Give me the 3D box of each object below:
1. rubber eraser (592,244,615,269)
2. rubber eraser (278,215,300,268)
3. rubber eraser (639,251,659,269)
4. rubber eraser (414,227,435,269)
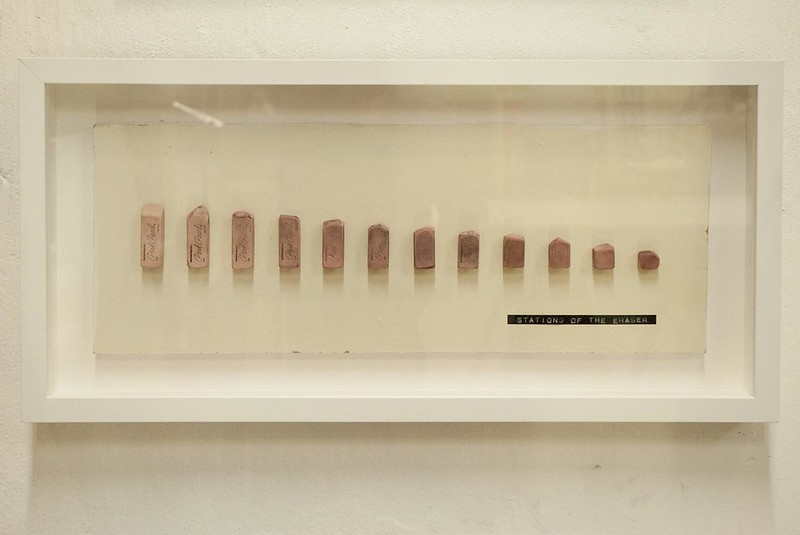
[{"bbox_3d":[0.611,-0.024,4.518,0.066,0.066,0.044,-2,-33,-1],"label":"rubber eraser"},{"bbox_3d":[-0.328,-0.071,4.503,0.067,0.151,0.020,1,4,16],"label":"rubber eraser"},{"bbox_3d":[0.748,-0.014,4.511,0.058,0.052,0.015,3,2,-1],"label":"rubber eraser"},{"bbox_3d":[0.077,-0.043,4.505,0.066,0.112,0.016,-3,-6,22],"label":"rubber eraser"}]
